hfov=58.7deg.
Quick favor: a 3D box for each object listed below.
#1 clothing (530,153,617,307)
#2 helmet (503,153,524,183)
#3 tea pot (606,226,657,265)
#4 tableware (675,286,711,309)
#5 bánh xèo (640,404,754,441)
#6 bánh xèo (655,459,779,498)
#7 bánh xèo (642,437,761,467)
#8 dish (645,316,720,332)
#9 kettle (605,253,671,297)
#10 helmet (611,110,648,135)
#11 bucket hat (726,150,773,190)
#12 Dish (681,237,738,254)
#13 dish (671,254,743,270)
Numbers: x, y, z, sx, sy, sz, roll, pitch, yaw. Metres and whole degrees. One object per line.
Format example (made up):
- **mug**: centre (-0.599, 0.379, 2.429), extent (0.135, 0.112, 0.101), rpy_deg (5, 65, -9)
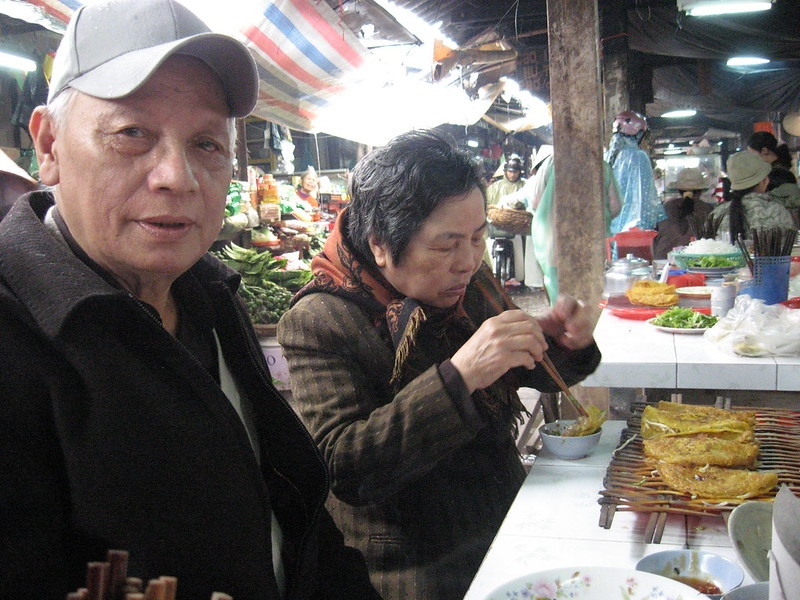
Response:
- **clothing**: centre (1.749, -0.697, 7.116), extent (0.899, 2.040, 0.691), rpy_deg (-2, -16, 28)
- **helmet**: centre (1.942, -2.280, 12.332), extent (0.365, 0.446, 0.471), rpy_deg (-3, 5, 3)
- **tea pot**: centre (1.831, -0.436, 5.633), extent (0.333, 0.361, 0.240), rpy_deg (-3, 9, 14)
- **tableware**: centre (1.772, -0.023, 4.271), extent (0.163, 0.037, 0.160), rpy_deg (-15, 11, -29)
- **bánh xèo**: centre (1.053, 0.431, 2.499), extent (0.187, 0.066, 0.189), rpy_deg (1, 3, 39)
- **bánh xèo**: centre (0.950, 0.549, 2.155), extent (0.190, 0.043, 0.131), rpy_deg (-4, 13, 18)
- **bánh xèo**: centre (0.961, 0.485, 2.289), extent (0.219, 0.056, 0.136), rpy_deg (1, -6, 8)
- **dish**: centre (1.416, 0.129, 3.599), extent (0.328, 0.072, 0.273), rpy_deg (-2, 5, 24)
- **kettle**: centre (1.564, -0.140, 4.745), extent (0.314, 0.351, 0.412), rpy_deg (-4, 5, -37)
- **helmet**: centre (2.534, -1.947, 7.894), extent (0.272, 0.289, 0.359), rpy_deg (17, 51, 38)
- **bucket hat**: centre (3.409, -1.282, 6.997), extent (0.332, 0.398, 0.354), rpy_deg (-2, 5, 35)
- **Dish**: centre (2.234, -0.387, 5.136), extent (0.352, 0.103, 0.383), rpy_deg (-3, 5, 24)
- **dish**: centre (2.144, -0.270, 4.958), extent (0.452, 0.130, 0.338), rpy_deg (-2, 5, 24)
